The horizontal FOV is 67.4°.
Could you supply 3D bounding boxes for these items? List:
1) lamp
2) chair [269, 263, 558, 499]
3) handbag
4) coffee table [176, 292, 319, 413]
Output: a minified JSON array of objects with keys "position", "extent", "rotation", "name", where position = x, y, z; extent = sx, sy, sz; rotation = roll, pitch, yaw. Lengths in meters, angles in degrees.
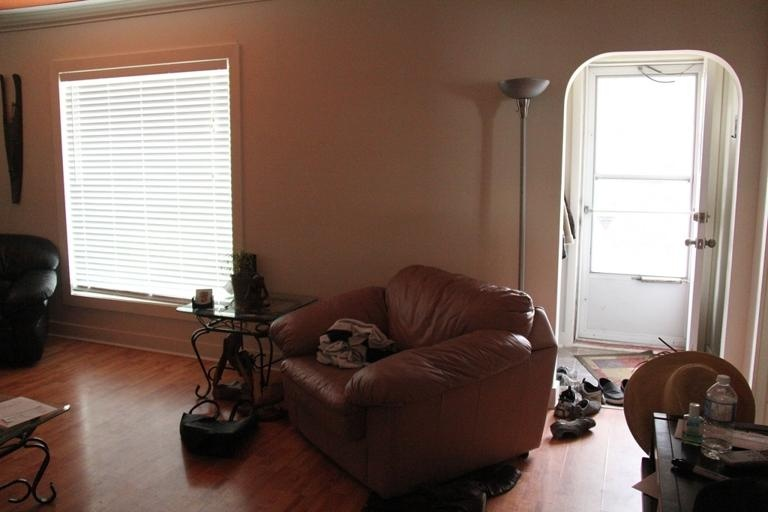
[{"position":[1.110,-0.567,4.674],"extent":[0.369,1.726,0.330],"rotation":[3,11,15],"name":"lamp"},{"position":[0.151,0.838,4.584],"extent":[1.981,1.165,1.937],"rotation":[11,15,41],"name":"chair"},{"position":[-1.304,1.329,4.506],"extent":[0.616,0.189,0.599],"rotation":[2,10,11],"name":"handbag"},{"position":[-1.359,0.862,5.143],"extent":[0.952,0.691,0.946],"rotation":[-14,-10,16],"name":"coffee table"}]
